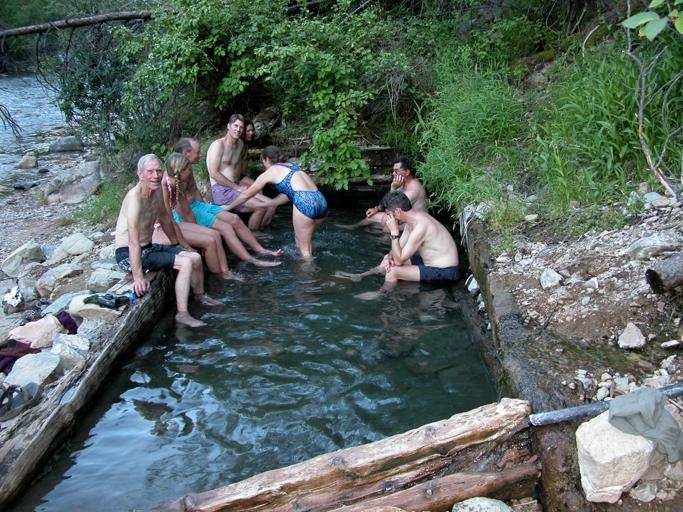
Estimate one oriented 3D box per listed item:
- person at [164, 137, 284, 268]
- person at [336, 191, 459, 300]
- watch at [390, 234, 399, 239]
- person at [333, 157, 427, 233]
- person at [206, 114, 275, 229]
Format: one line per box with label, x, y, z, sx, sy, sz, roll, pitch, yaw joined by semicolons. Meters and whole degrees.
person;-1.948;-0.672;7.763;0.910;1.291;2.061;-28;44;-30
person;0.795;-0.199;7.545;1.635;1.380;1.156;-8;26;-3
watch;0.722;-0.268;7.320;0.095;0.101;0.096;1;-1;16
person;0.630;-0.988;8.960;1.657;1.323;0.726;-1;8;-1
person;-1.737;-1.298;9.440;1.408;2.275;0.918;16;24;18
